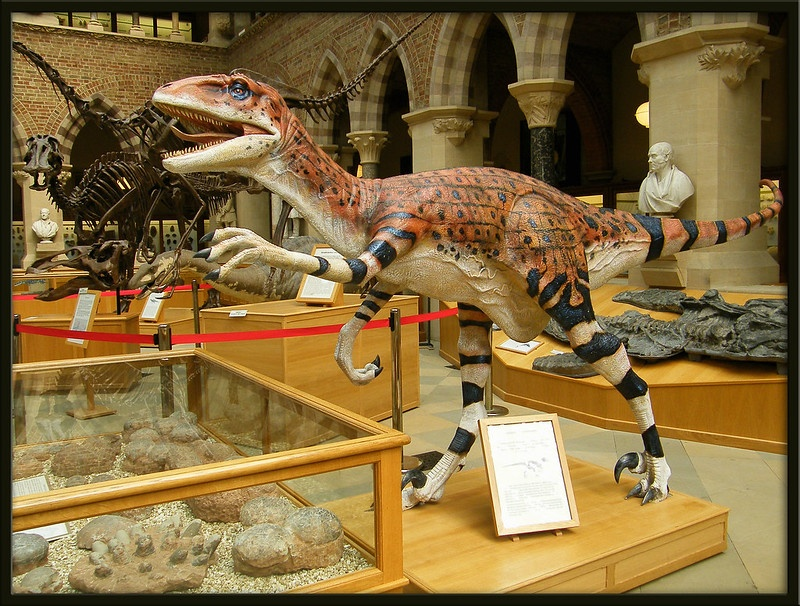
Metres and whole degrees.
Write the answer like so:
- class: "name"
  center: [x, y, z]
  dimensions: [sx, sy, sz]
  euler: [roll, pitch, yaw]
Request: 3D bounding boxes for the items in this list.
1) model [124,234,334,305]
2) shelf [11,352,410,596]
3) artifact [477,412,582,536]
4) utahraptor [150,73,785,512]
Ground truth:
- class: "model"
  center: [-1.999, -0.353, 7.100]
  dimensions: [2.422, 0.646, 0.471]
  euler: [-9, 23, -35]
- class: "shelf"
  center: [-0.792, 0.538, 2.239]
  dimensions: [1.051, 0.320, 1.433]
  euler: [-2, 7, -39]
- class: "artifact"
  center: [0.589, 0.782, 2.699]
  dimensions: [0.448, 0.529, 0.138]
  euler: [-6, -11, -8]
- class: "utahraptor"
  center: [0.600, -0.012, 2.920]
  dimensions: [3.548, 1.700, 0.661]
  euler: [1, -7, -21]
